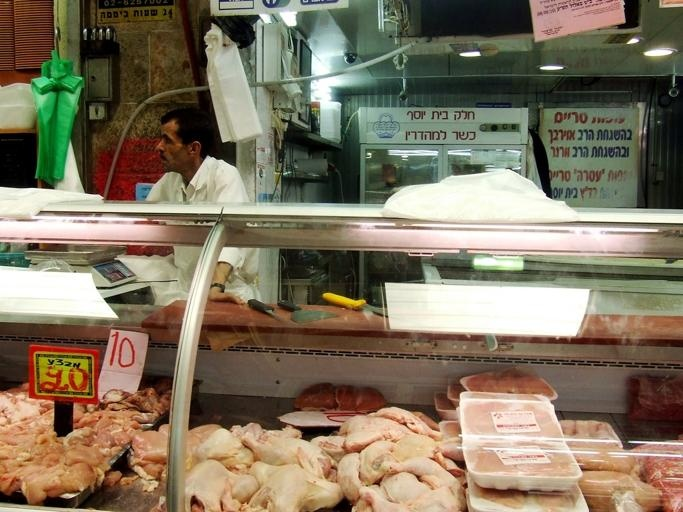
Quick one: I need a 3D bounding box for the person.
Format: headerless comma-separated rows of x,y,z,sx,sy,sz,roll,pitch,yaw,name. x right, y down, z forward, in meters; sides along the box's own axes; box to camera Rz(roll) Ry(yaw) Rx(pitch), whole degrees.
-0.650,-0.333,2.904,0.532,0.817,1.647,-5,11,-17,person

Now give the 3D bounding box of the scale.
-0.942,0.059,2.239,0.378,0.124,0.240,1,5,10,scale

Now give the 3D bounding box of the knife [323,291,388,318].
0.051,0.166,2.234,0.159,0.046,0.095,22,20,11,knife

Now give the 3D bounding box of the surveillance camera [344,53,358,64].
0.093,-1.948,5.983,0.086,0.072,0.066,-1,27,-1,surveillance camera

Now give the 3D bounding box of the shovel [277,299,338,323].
-0.147,0.206,2.235,0.228,0.056,0.093,3,11,21,shovel

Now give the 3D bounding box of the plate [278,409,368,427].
-0.071,0.584,2.176,0.343,0.011,0.087,0,21,1,plate

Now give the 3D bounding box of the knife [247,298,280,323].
-0.299,0.203,2.263,0.160,0.023,0.049,20,21,34,knife
